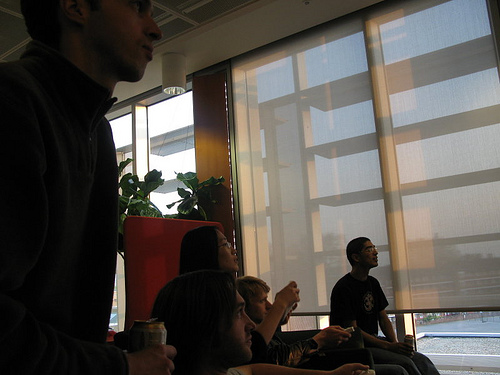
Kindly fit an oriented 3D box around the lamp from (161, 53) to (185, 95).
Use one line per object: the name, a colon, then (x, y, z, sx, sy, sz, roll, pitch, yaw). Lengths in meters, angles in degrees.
lamp: (-0.999, -1.428, 5.185, 0.382, 0.663, 0.420, 1, -4, -18)
